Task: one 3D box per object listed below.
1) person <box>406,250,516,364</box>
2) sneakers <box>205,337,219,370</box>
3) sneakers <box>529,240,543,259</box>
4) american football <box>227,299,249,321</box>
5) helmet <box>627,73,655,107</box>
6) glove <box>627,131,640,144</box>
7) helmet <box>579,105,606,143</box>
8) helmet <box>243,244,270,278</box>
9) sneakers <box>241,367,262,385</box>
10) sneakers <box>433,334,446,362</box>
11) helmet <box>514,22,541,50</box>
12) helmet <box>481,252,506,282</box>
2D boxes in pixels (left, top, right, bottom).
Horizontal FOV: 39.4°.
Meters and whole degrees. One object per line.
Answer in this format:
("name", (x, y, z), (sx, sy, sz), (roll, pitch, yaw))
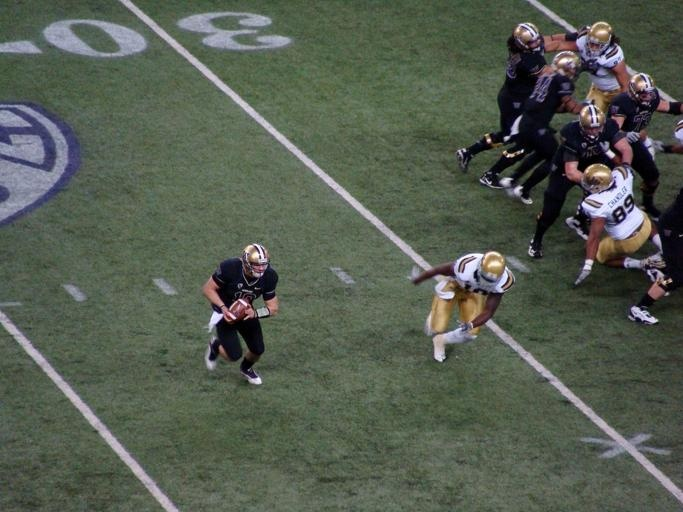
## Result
("person", (1.354, 0.501, 10.604), (0.613, 1.488, 0.830), (-25, 50, -34))
("sneakers", (-1.459, 1.073, 10.528), (0.163, 0.360, 0.193), (1, 6, -31))
("sneakers", (2.440, -0.092, 12.011), (0.138, 0.121, 0.274), (2, 26, 3))
("american football", (-1.090, 0.560, 10.044), (0.219, 0.203, 0.150), (-20, 47, -32))
("helmet", (3.794, -2.124, 11.881), (0.330, 0.300, 0.362), (-10, 47, -7))
("glove", (3.647, -1.488, 11.946), (0.124, 0.155, 0.045), (-42, 7, -2))
("helmet", (3.013, -1.631, 11.452), (0.330, 0.379, 0.341), (17, 39, 11))
("helmet", (-0.912, 0.036, 10.044), (0.290, 0.271, 0.358), (-4, 24, -36))
("sneakers", (-1.003, 1.323, 10.540), (0.272, 0.111, 0.127), (37, 58, 2))
("sneakers", (1.114, 1.043, 10.872), (0.183, 0.254, 0.267), (-8, 53, 6))
("helmet", (2.431, -2.846, 12.452), (0.437, 0.331, 0.270), (11, 66, 12))
("helmet", (1.589, 0.116, 10.109), (0.277, 0.287, 0.315), (20, -6, -9))
